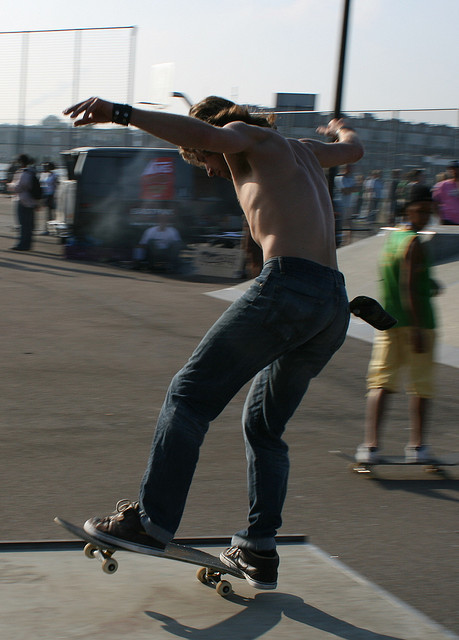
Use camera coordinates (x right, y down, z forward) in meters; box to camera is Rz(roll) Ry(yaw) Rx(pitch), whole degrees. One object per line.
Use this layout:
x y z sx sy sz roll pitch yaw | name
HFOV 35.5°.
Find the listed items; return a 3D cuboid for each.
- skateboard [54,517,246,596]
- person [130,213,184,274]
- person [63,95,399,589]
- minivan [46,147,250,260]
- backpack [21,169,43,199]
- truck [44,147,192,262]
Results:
-0.223 0.830 2.462 0.763 0.106 0.193 20 -11 -19 | skateboard
-1.351 -1.516 14.161 1.074 1.050 0.592 2 19 -4 | person
-0.021 0.101 2.502 0.939 1.610 0.432 2 7 -18 | person
-1.683 -2.294 14.357 3.422 2.290 0.958 3 7 -1 | minivan
-4.236 -2.924 15.464 0.334 0.606 0.328 2 7 -18 | backpack
-1.575 -2.471 15.016 3.751 2.162 2.118 6 7 25 | truck
